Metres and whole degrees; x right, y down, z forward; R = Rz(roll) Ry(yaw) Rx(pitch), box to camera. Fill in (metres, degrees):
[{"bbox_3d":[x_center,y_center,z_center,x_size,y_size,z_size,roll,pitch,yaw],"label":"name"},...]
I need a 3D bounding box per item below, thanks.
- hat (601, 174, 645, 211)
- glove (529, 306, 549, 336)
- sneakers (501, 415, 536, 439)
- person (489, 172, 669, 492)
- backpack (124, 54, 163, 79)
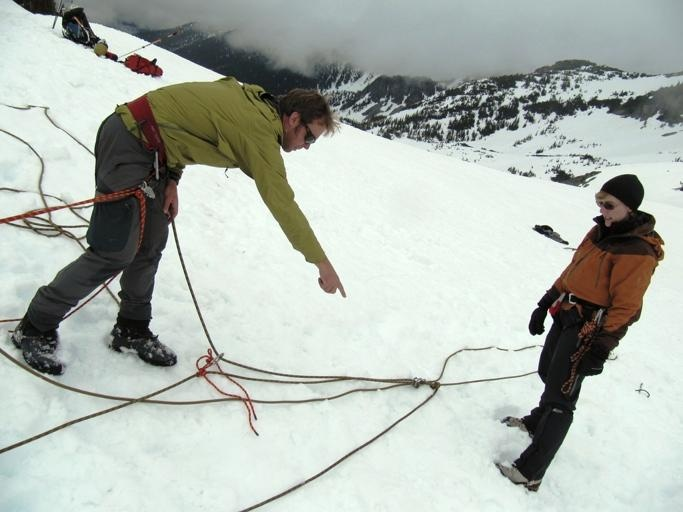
[{"bbox_3d":[2.395,-0.564,4.349,0.342,0.281,0.201,24,28,19],"label":"hat"},{"bbox_3d":[1.910,0.628,5.040,0.090,0.270,0.205,24,5,25],"label":"glove"},{"bbox_3d":[1.657,1.589,4.814,0.361,0.153,0.111,1,8,33],"label":"sneakers"},{"bbox_3d":[2.022,0.628,4.384,0.737,2.527,1.300,23,27,20],"label":"person"},{"bbox_3d":[-4.431,-4.208,11.529,0.818,0.346,0.509,11,32,-46],"label":"backpack"}]
